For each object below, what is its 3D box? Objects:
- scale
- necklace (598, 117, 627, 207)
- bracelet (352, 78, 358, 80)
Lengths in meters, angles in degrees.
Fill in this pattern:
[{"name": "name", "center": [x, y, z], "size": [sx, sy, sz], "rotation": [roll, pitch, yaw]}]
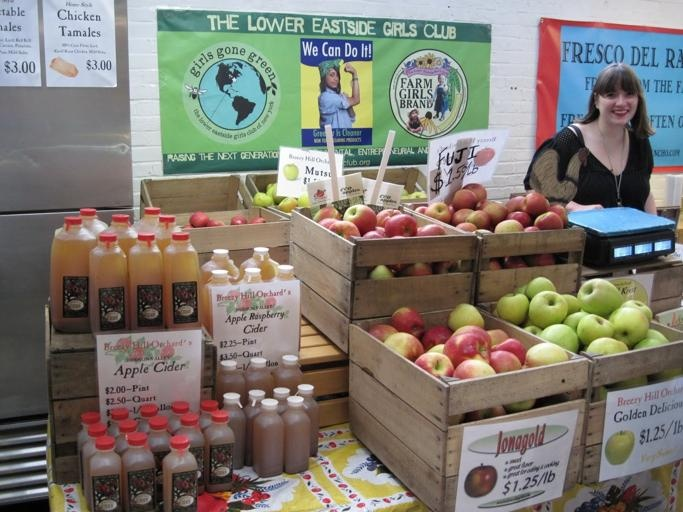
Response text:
[{"name": "scale", "center": [1.269, -0.097, 2.654], "size": [0.349, 0.138, 0.339], "rotation": [-7, 19, -20]}, {"name": "necklace", "center": [1.623, -0.565, 3.453], "size": [0.105, 0.537, 0.077], "rotation": [2, 6, -4]}, {"name": "bracelet", "center": [0.111, -1.512, 4.904], "size": [0.027, 0.022, 0.028], "rotation": [1, 5, -14]}]
